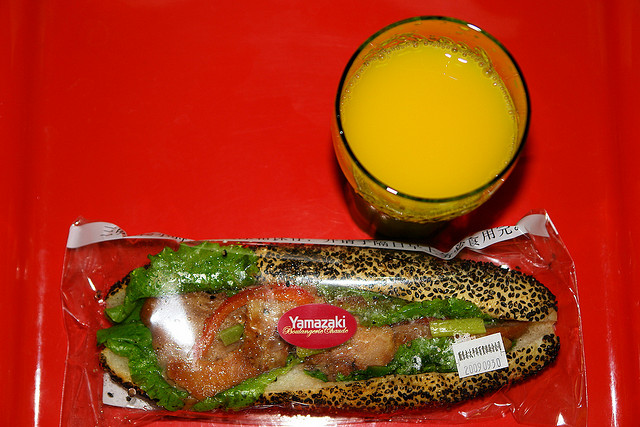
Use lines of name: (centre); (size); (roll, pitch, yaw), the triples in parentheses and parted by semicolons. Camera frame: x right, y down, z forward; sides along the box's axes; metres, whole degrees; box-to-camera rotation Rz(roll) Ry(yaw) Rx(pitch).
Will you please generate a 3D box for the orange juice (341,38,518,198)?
orange juice: (0.377, -0.351, 2.300); (0.564, 0.562, 0.758); (9, 40, 13)
